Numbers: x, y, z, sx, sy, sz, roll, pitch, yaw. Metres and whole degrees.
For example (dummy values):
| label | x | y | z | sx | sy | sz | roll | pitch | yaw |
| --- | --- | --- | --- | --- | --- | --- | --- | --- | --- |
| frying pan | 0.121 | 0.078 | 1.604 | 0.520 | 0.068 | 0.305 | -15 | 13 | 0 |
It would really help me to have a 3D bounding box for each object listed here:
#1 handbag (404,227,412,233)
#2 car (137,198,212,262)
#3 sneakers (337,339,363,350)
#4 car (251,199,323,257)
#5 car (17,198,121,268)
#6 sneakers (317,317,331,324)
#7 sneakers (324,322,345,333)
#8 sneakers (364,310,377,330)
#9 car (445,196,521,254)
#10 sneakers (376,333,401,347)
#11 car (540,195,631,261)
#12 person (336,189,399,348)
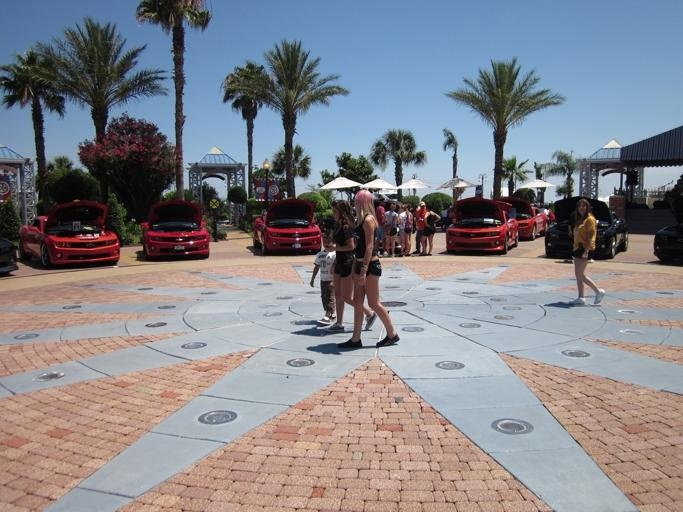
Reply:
| label | x | y | z | sx | sy | sz | roll | pitch | yaw |
| --- | --- | --- | --- | --- | --- | --- | --- | --- | --- |
| handbag | 2.472 | -1.265 | 16.484 | 0.251 | 0.154 | 0.229 | 1 | 2 | 4 |
| car | -6.374 | -1.278 | 17.302 | 2.151 | 1.395 | 3.245 | -1 | 3 | -19 |
| sneakers | 0.134 | 1.189 | 6.037 | 0.323 | 0.104 | 0.125 | 2 | 0 | -2 |
| car | -2.361 | -1.489 | 18.512 | 1.876 | 1.330 | 3.270 | -1 | 2 | -19 |
| car | -9.282 | -1.085 | 15.269 | 2.017 | 2.300 | 3.387 | -9 | 12 | -41 |
| sneakers | -0.278 | 0.994 | 7.114 | 0.209 | 0.081 | 0.094 | 3 | 0 | 28 |
| sneakers | -0.094 | 1.063 | 6.835 | 0.306 | 0.112 | 0.118 | 4 | 0 | 5 |
| sneakers | 0.455 | 0.937 | 7.014 | 0.150 | 0.117 | 0.348 | 19 | 11 | -5 |
| car | 5.616 | -1.580 | 17.661 | 1.970 | 2.300 | 2.775 | 4 | 10 | 30 |
| sneakers | 0.657 | 1.147 | 6.154 | 0.400 | 0.129 | 0.134 | -8 | 5 | 3 |
| car | 8.476 | -1.179 | 15.700 | 2.603 | 1.561 | 5.486 | 0 | 0 | 38 |
| person | 0.370 | 0.107 | 5.975 | 0.762 | 2.249 | 0.630 | 1 | 10 | 13 |
